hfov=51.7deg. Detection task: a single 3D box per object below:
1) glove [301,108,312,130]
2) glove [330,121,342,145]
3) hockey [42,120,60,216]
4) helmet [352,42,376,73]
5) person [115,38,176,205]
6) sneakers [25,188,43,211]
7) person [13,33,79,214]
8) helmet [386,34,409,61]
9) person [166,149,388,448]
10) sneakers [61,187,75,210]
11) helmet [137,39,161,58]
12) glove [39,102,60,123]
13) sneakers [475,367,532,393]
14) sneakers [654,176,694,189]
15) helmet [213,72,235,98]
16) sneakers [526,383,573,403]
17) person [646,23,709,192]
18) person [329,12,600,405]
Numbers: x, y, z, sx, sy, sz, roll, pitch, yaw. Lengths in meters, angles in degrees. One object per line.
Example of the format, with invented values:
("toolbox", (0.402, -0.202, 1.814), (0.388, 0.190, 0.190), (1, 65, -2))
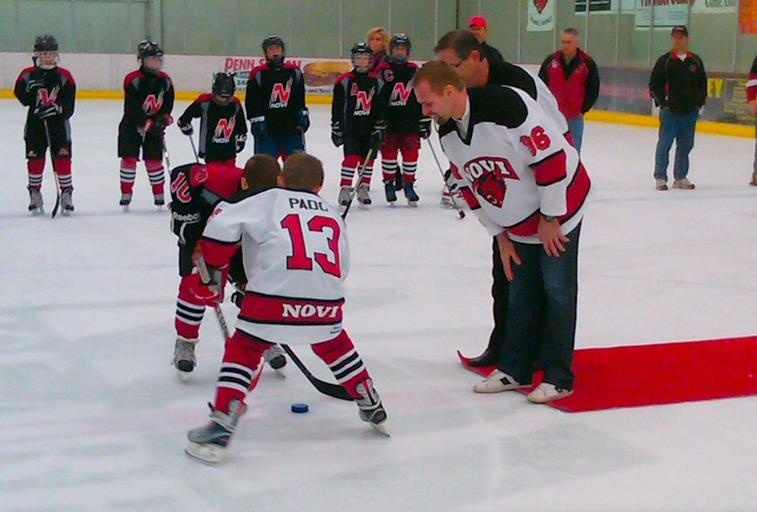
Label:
("glove", (-0.637, -1.262, 7.039), (0.063, 0.243, 0.146), (-2, 0, -10))
("glove", (-0.446, -1.194, 7.677), (0.129, 0.148, 0.168), (-12, 30, 0))
("hockey", (-3.134, -0.834, 7.479), (0.103, 0.890, 0.102), (-12, -7, 10))
("helmet", (-0.153, -1.892, 7.507), (0.206, 0.262, 0.269), (0, 0, -3))
("person", (-2.181, -1.207, 7.309), (0.533, 1.535, 0.411), (-3, 14, -18))
("sneakers", (-3.136, -0.516, 7.131), (0.127, 0.219, 0.256), (-5, 15, -25))
("person", (-3.026, -1.197, 7.132), (0.497, 1.571, 0.619), (-4, 14, -20))
("helmet", (0.187, -2.023, 7.608), (0.198, 0.238, 0.258), (0, 7, -1))
("person", (-0.393, 0.186, 3.259), (0.833, 1.175, 0.410), (-3, 14, -15))
("sneakers", (-2.859, -0.518, 7.173), (0.113, 0.232, 0.280), (-4, 14, -22))
("helmet", (-2.126, -1.907, 7.233), (0.205, 0.159, 0.350), (-3, 14, -16))
("glove", (-2.971, -1.305, 7.076), (0.175, 0.070, 0.110), (-16, 32, -12))
("sneakers", (0.625, 0.605, 3.830), (0.311, 0.125, 0.106), (2, 2, -9))
("sneakers", (3.212, -0.782, 8.439), (0.423, 0.181, 0.154), (-1, 10, 6))
("helmet", (-1.230, -1.354, 6.224), (0.173, 0.223, 0.213), (2, 4, -19))
("sneakers", (0.795, 0.623, 3.609), (0.198, 0.071, 0.088), (-1, 3, -17))
("person", (3.253, -1.617, 8.514), (0.580, 1.722, 0.797), (5, 14, 18))
("person", (0.583, -0.161, 3.573), (0.730, 1.668, 0.419), (4, 14, 14))
